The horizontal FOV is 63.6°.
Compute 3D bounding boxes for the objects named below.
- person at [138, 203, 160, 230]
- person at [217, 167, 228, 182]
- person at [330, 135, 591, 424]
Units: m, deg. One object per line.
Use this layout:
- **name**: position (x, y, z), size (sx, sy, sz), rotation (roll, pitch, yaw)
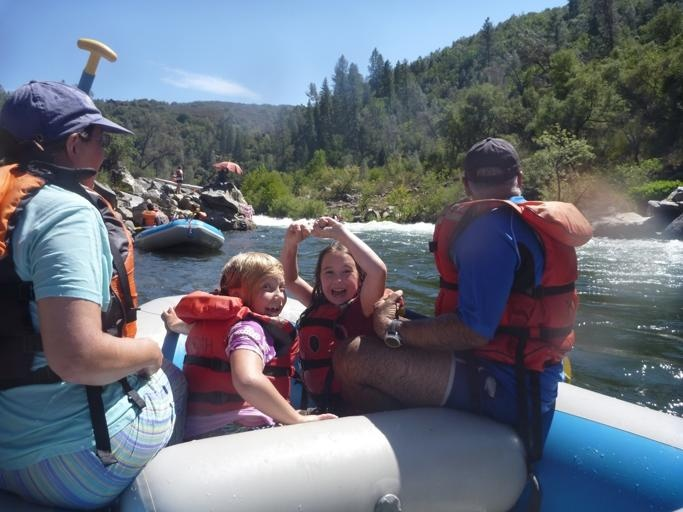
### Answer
- **person**: position (-5.394, -1.133, 15.698), size (0.532, 0.921, 0.805), rotation (2, -5, -37)
- **person**: position (-4.664, -3.134, 21.356), size (0.481, 0.680, 0.806), rotation (-3, 7, -17)
- **person**: position (0.675, 0.276, 3.398), size (1.191, 2.134, 1.194), rotation (5, -14, 10)
